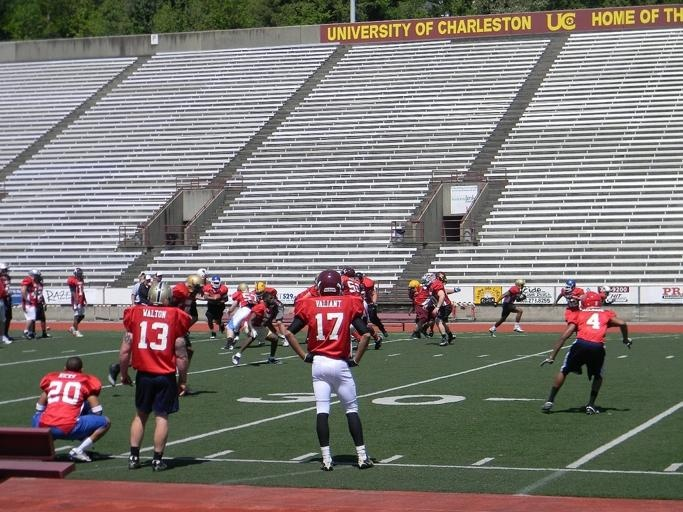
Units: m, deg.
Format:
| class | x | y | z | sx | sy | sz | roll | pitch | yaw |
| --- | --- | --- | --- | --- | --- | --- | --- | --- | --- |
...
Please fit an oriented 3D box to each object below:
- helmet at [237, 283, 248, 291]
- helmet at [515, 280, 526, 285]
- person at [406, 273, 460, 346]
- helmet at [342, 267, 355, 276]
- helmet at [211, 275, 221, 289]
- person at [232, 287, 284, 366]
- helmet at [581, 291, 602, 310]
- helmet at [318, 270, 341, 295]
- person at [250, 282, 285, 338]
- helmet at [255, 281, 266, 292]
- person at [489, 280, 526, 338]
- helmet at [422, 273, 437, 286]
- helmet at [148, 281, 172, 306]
| class | x | y | z | sx | sy | sz | roll | pitch | yaw |
| --- | --- | --- | --- | --- | --- | --- | --- | --- | --- |
| helmet | -2.664 | 0.796 | 36.879 | 0.229 | 0.186 | 0.244 | 3 | -8 | 3 |
| helmet | 5.419 | 0.775 | 41.175 | 0.240 | 0.194 | 0.187 | -14 | 32 | 17 |
| person | 2.838 | 1.438 | 39.558 | 1.192 | 2.120 | 0.993 | 0 | 0 | -32 |
| helmet | 0.187 | 0.394 | 36.563 | 0.213 | 0.261 | 0.288 | -5 | 1 | 23 |
| helmet | -3.670 | 0.712 | 39.907 | 0.254 | 0.367 | 0.549 | -2 | 13 | -1 |
| person | -2.274 | 1.843 | 35.634 | 1.444 | 1.993 | 0.964 | 2 | -4 | -36 |
| helmet | 5.496 | 0.967 | 29.866 | 0.359 | 0.377 | 0.445 | 3 | 9 | -1 |
| helmet | -0.225 | 0.531 | 26.798 | 0.357 | 0.270 | 0.537 | 0 | 30 | -1 |
| person | -1.950 | 1.490 | 35.954 | 0.632 | 1.542 | 0.791 | -4 | 10 | -42 |
| helmet | -2.109 | 0.779 | 35.872 | 0.239 | 0.262 | 0.306 | -3 | -12 | -9 |
| person | 5.156 | 1.527 | 41.143 | 1.233 | 1.715 | 0.625 | 3 | -7 | 4 |
| helmet | 2.562 | 0.690 | 39.426 | 0.381 | 0.373 | 0.305 | 0 | 16 | -21 |
| helmet | -3.606 | 0.746 | 26.962 | 0.366 | 0.478 | 0.389 | 3 | -39 | -1 |
